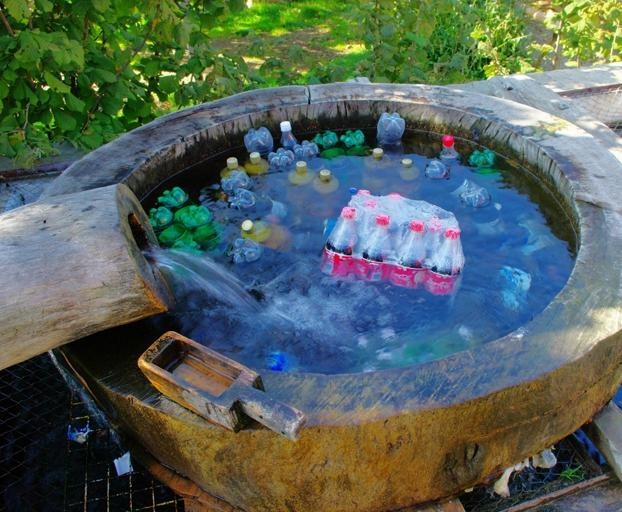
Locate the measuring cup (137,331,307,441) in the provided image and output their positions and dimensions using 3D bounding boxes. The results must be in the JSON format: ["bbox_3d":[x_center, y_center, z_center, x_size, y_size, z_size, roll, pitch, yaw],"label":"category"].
[{"bbox_3d":[-0.334,0.509,1.834,0.658,0.165,0.213,23,48,23],"label":"measuring cup"}]
